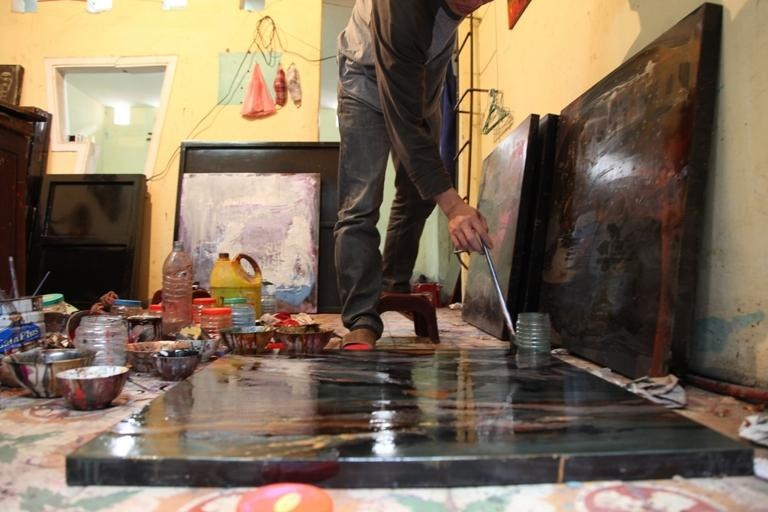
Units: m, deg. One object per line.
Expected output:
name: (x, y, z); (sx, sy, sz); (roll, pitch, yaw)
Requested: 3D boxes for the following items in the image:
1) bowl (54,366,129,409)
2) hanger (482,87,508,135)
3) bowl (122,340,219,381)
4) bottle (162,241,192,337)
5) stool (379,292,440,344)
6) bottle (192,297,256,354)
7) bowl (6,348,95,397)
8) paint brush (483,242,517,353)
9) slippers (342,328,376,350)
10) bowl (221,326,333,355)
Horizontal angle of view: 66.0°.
bowl: (-0.916, 0.419, 1.861); (0.204, 0.115, 0.207); (3, 2, 0)
hanger: (0.793, -1.021, 4.184); (0.094, 0.272, 0.216); (14, -34, 24)
bowl: (-0.748, 0.362, 2.127); (0.193, 0.066, 0.188); (0, 1, 0)
bottle: (-0.928, 0.143, 2.653); (0.137, 0.364, 0.363); (-3, 12, -19)
stool: (0.119, 0.283, 2.782); (0.255, 0.176, 0.247); (-1, 1, -7)
bottle: (-0.669, 0.312, 2.524); (0.189, 0.167, 0.181); (1, 2, -13)
bowl: (-1.092, 0.363, 1.900); (0.182, 0.077, 0.176); (3, 5, 0)
paint brush: (0.548, 0.198, 2.750); (0.061, 0.486, 0.051); (-9, -16, -37)
slippers: (-0.101, 0.338, 2.392); (0.135, 0.058, 0.142); (1, 11, 1)
bowl: (-0.421, 0.334, 2.344); (0.424, 0.107, 0.222); (1, 11, 1)
